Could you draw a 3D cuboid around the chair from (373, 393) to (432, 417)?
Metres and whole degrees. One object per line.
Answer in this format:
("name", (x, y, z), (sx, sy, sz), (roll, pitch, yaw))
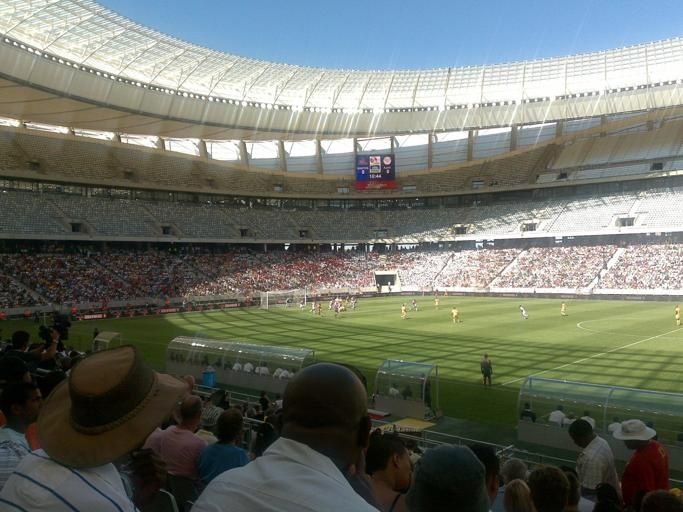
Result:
("chair", (1.902, 4.820, 18.892), (2.543, 0.516, 0.717), (-1, -17, 26))

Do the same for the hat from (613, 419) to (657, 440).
("hat", (4.381, 2.591, 8.745), (0.496, 0.326, 0.634), (0, -13, 24))

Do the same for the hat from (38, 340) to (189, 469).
("hat", (-1.951, 1.318, 5.281), (1.292, 1.248, 0.364), (19, -51, 19))
